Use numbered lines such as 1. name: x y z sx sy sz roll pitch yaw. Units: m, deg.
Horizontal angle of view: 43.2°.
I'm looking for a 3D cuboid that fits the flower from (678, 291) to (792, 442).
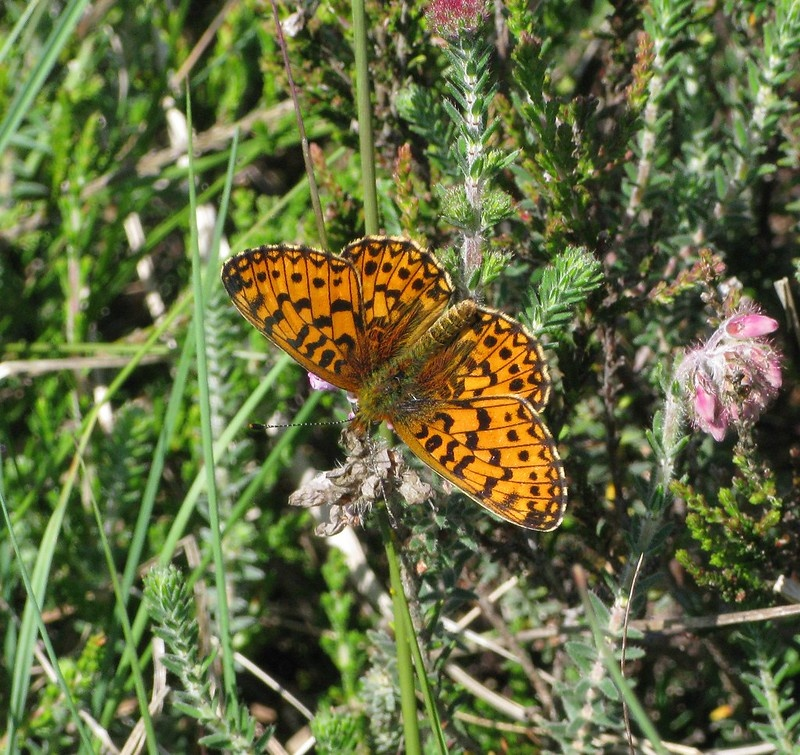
1. flower: 0.942 0.018 2.907 0.322 0.355 0.305 -32 82 -2
